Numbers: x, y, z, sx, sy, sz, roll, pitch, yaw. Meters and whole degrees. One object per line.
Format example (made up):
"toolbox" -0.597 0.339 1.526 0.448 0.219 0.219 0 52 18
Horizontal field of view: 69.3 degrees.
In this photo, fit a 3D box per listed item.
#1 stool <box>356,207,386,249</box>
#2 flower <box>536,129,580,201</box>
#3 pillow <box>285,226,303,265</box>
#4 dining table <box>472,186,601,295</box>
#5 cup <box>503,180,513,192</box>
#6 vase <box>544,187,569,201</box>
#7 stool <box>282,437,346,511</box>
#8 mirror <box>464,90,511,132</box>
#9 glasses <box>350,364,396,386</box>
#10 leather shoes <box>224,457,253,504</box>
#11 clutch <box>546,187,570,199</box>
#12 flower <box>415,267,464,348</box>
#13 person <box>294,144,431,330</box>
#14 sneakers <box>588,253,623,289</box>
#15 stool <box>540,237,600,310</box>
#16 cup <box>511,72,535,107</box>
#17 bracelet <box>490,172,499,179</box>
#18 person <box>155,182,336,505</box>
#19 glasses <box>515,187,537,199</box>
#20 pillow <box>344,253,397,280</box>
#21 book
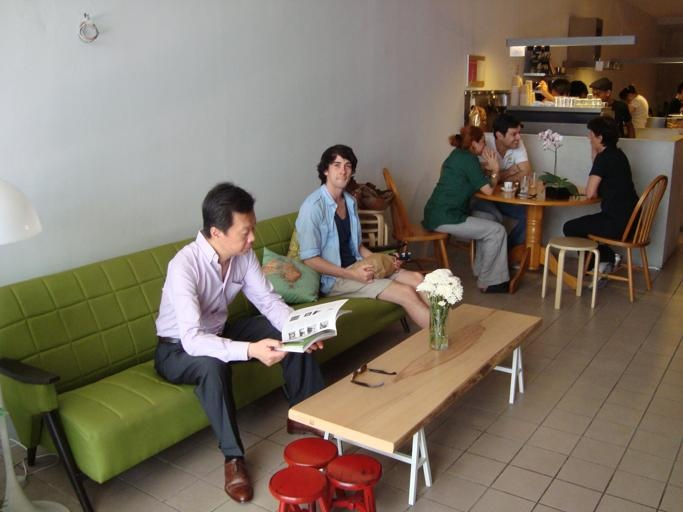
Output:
"stool" 0.308 -0.286 4.659 0.308 0.470 0.320 1 20 5
"flower" 2.250 -0.970 5.281 0.380 0.685 0.378 -1 12 -38
"pillow" -0.373 -0.063 3.845 0.058 0.192 0.197 9 29 -27
"dining table" 2.067 -0.288 5.321 1.149 0.904 1.188 -4 22 4
"cup" 1.726 -0.723 5.187 0.090 0.088 0.094 -1 16 0
"vase" 2.148 -0.634 4.935 0.170 0.109 0.165 -6 13 -38
"stool" -0.099 0.962 2.233 0.236 0.315 0.243 0 18 1
"mirror" 2.041 -2.013 6.995 0.987 0.591 0.110 -11 14 -36
"glasses" 0.146 0.607 2.500 0.115 0.034 0.116 8 16 29
"leather shoes" -0.528 1.112 2.481 0.090 0.111 0.251 -7 9 -24
"clutch" 2.149 -0.619 4.939 0.159 0.102 0.156 -11 18 -33
"flower" 0.505 0.300 2.779 0.248 0.420 0.281 -3 -7 26
"person" 0.272 -0.106 3.655 1.252 1.445 0.694 8 19 37
"sneakers" 2.614 0.157 4.938 0.370 0.160 0.123 -38 25 -15
"stool" 2.156 0.156 4.665 0.486 0.589 0.498 8 18 29
"cup" 2.681 -2.446 7.332 0.306 0.392 0.321 -3 20 1
"bracelet" 1.676 -0.878 5.454 0.081 0.021 0.085 7 40 20
"person" -0.609 0.403 2.660 0.953 1.422 0.854 10 18 15
"glasses" 1.914 -0.644 5.127 0.156 0.081 0.219 9 18 31
"pillow" 0.251 0.075 3.734 0.282 0.106 0.199 -12 18 -33
"book" -0.161 0.378 2.403 0.268 0.115 0.291 -12 29 39
